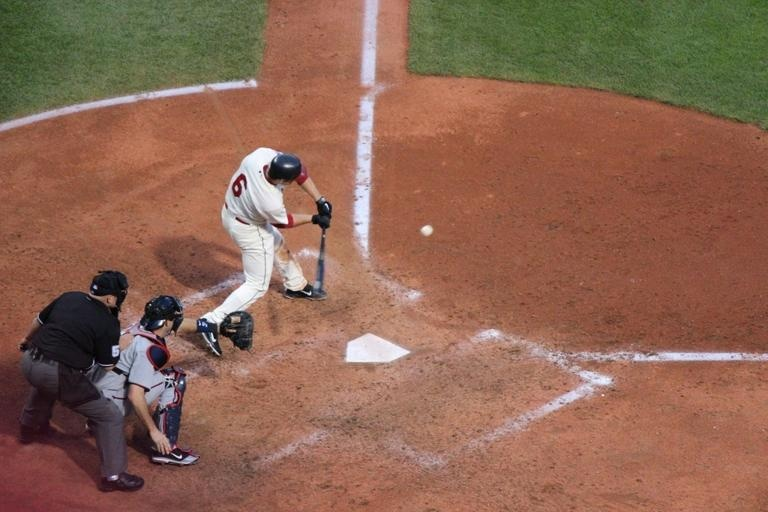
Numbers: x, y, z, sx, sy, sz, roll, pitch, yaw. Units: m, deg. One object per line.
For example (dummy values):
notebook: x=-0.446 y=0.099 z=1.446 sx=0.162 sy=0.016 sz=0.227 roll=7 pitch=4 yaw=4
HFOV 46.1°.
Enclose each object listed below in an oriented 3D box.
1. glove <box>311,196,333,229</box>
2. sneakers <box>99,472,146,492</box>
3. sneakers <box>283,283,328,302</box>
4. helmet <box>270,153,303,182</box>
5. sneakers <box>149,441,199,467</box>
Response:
glove: x=-0.980 y=-0.686 z=14.217 sx=0.171 sy=0.368 sz=0.461 roll=-16 pitch=40 yaw=26
sneakers: x=-3.524 y=3.035 z=12.043 sx=0.566 sy=0.232 sz=0.226 roll=-2 pitch=39 yaw=-9
sneakers: x=-1.298 y=0.624 z=14.942 sx=0.760 sy=0.281 sz=0.243 roll=0 pitch=42 yaw=-3
helmet: x=-1.524 y=-1.329 z=13.619 sx=0.506 sy=0.363 sz=0.331 roll=-12 pitch=88 yaw=-20
sneakers: x=-2.906 y=2.726 z=12.389 sx=0.618 sy=0.238 sz=0.273 roll=1 pitch=9 yaw=-3
